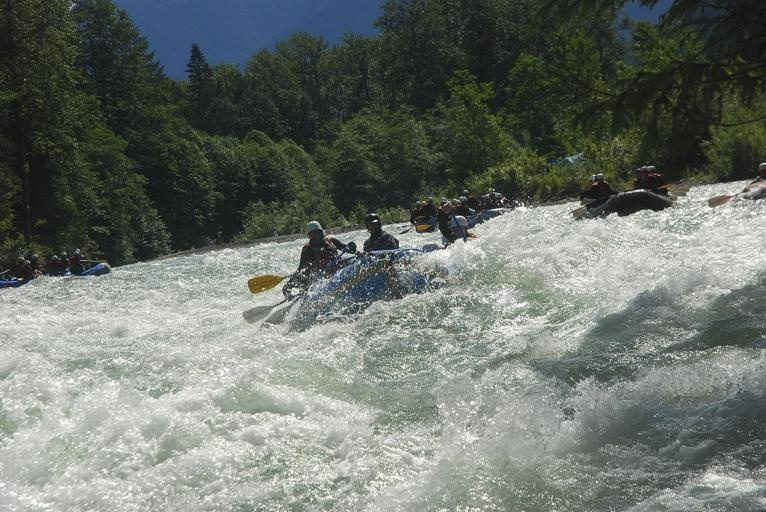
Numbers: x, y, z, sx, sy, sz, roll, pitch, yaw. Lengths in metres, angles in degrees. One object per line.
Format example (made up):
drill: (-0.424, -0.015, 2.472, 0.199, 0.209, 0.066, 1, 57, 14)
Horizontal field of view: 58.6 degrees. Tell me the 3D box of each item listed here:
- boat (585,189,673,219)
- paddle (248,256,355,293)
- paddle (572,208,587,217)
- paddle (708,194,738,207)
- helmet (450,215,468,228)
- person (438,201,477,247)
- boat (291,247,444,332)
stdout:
boat: (6.506, -1.399, 18.062, 2.130, 0.581, 0.852, -10, 11, 28)
paddle: (-1.755, 0.437, 14.864, 2.631, 0.400, 0.209, -16, 6, 5)
paddle: (5.620, -1.180, 19.468, 0.307, 0.086, 0.306, -36, 15, 2)
paddle: (8.376, -1.357, 16.869, 0.628, 0.097, 1.382, -10, 11, 26)
helmet: (1.837, -0.817, 16.451, 0.366, 0.299, 0.361, -13, 10, 6)
person: (1.734, -0.784, 16.508, 0.726, 0.997, 2.081, -13, 10, 5)
boat: (-0.450, 0.648, 13.011, 2.360, 0.636, 1.416, -21, 13, 6)
